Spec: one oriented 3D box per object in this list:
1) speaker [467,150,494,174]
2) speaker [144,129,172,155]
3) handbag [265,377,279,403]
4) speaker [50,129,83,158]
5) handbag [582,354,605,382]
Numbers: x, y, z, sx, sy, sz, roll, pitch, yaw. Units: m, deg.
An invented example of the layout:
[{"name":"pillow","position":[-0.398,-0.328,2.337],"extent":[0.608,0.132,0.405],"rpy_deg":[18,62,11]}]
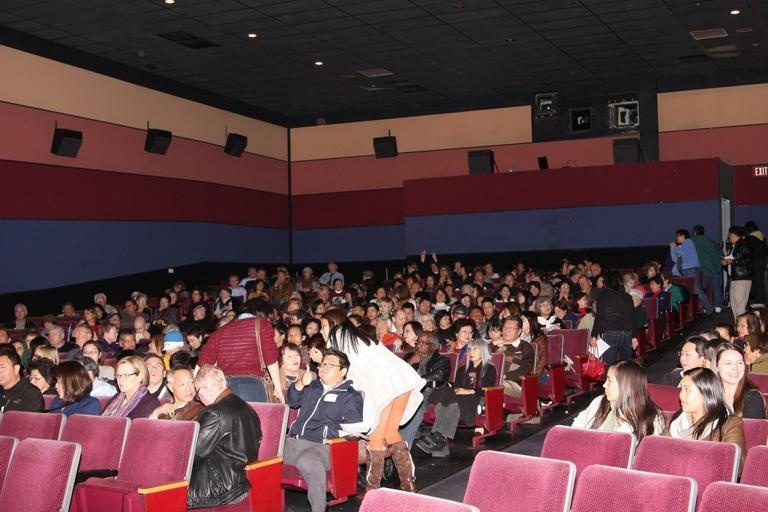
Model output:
[{"name":"speaker","position":[2.809,-2.716,16.315],"extent":[0.745,1.040,0.531],"rpy_deg":[-3,-9,8]},{"name":"speaker","position":[-6.393,-3.204,15.764],"extent":[0.689,0.667,0.352],"rpy_deg":[7,28,-40]},{"name":"handbag","position":[-1.207,1.455,6.116],"extent":[0.170,0.249,0.062],"rpy_deg":[-6,6,29]},{"name":"speaker","position":[-7.718,-2.775,13.700],"extent":[0.641,0.654,0.485],"rpy_deg":[-5,-6,27]},{"name":"handbag","position":[2.951,1.574,7.965],"extent":[0.387,0.395,0.175],"rpy_deg":[11,-4,-30]}]
